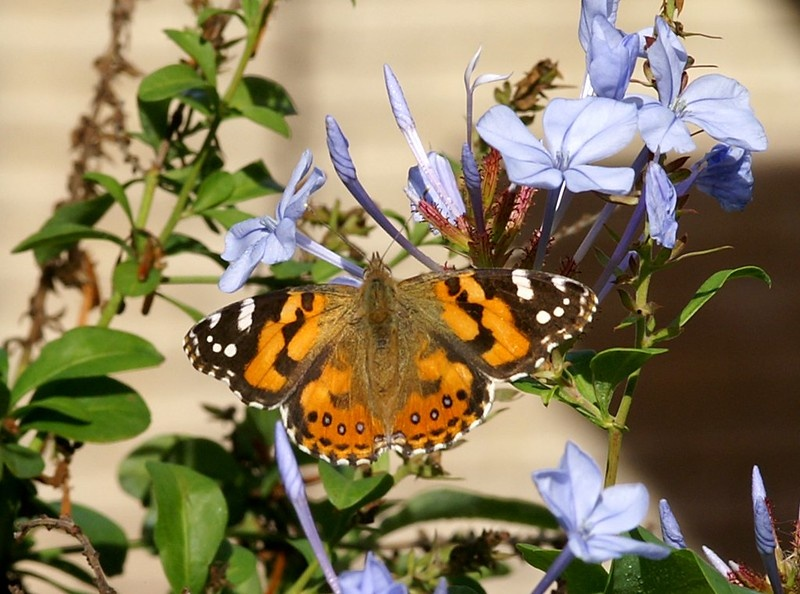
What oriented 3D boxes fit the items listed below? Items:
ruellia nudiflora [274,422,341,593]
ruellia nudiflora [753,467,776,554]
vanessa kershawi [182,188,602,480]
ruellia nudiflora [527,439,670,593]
[{"bbox_3d":[-0.186,0.404,2.030,0.108,0.405,0.104,-6,18,-17],"label":"ruellia nudiflora"},{"bbox_3d":[0.776,0.445,2.161,0.048,0.183,0.172,0,3,20],"label":"ruellia nudiflora"},{"bbox_3d":[-0.059,-0.014,2.379,0.566,0.703,0.442,-3,10,-17],"label":"vanessa kershawi"},{"bbox_3d":[0.361,0.400,1.893,0.178,0.292,0.207,2,16,-5],"label":"ruellia nudiflora"}]
